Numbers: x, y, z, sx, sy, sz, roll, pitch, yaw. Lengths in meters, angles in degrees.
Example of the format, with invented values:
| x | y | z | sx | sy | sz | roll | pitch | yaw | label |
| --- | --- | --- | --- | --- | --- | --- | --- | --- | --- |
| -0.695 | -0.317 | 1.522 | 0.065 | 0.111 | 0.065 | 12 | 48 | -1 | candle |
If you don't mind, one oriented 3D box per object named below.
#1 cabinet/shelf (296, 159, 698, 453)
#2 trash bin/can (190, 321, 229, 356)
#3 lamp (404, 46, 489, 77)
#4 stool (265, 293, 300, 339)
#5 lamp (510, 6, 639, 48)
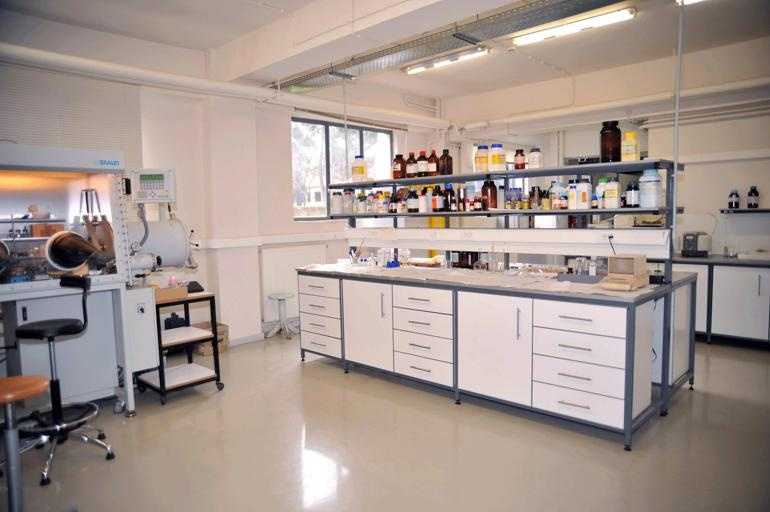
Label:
| x | y | z | sx | sy | sz | roll | pitch | yaw | label |
| --- | --- | --- | --- | --- | --- | --- | --- | --- | --- |
| 0.871 | 0.274 | 6.194 | 4.067 | 2.378 | 1.538 | 4 | 8 | 37 | cabinet/shelf |
| -2.268 | 1.074 | 7.157 | 0.444 | 0.404 | 0.446 | 1 | 1 | 41 | trash bin/can |
| 0.717 | -2.506 | 6.937 | 0.931 | 0.297 | 1.814 | -1 | 8 | 1 | lamp |
| -1.464 | 0.854 | 7.767 | 0.562 | 0.541 | 0.523 | -5 | 4 | -9 | stool |
| 1.964 | -2.462 | 5.840 | 1.230 | 0.168 | 0.346 | 4 | 9 | 36 | lamp |
